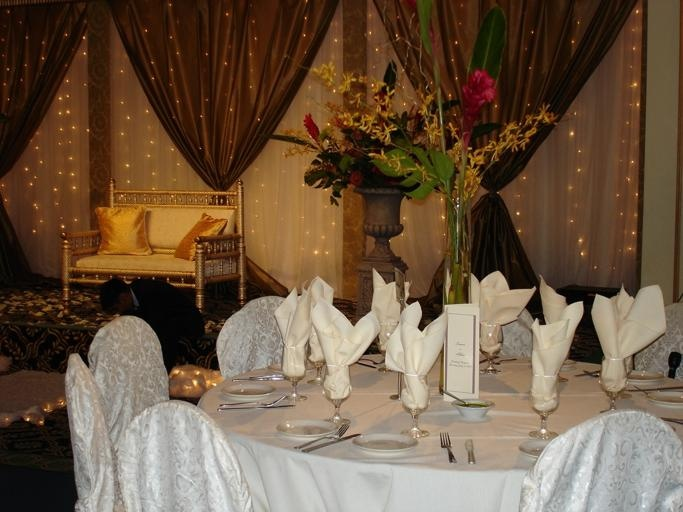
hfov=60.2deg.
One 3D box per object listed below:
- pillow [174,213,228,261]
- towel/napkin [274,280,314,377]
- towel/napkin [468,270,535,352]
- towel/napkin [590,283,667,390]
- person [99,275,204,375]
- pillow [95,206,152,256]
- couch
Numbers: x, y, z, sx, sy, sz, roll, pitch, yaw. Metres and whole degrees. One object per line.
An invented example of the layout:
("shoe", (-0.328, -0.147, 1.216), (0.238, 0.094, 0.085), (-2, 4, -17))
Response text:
("pillow", (-1.548, -0.202, 6.334), (0.580, 0.452, 0.669), (0, 9, 9))
("towel/napkin", (-0.160, 0.311, 2.038), (0.094, 0.356, 0.101), (-4, 3, 5))
("towel/napkin", (0.628, 0.246, 2.412), (0.260, 0.336, 0.274), (8, 15, 6))
("towel/napkin", (0.946, 0.276, 1.941), (0.246, 0.370, 0.181), (-4, -5, 40))
("person", (-1.480, 0.544, 4.703), (0.656, 0.843, 0.444), (-16, 11, -29))
("pillow", (-2.460, -0.263, 6.664), (0.412, 0.508, 0.184), (-3, -22, -9))
("couch", (-2.099, -0.134, 6.557), (1.618, 1.570, 1.064), (2, 4, 11))
